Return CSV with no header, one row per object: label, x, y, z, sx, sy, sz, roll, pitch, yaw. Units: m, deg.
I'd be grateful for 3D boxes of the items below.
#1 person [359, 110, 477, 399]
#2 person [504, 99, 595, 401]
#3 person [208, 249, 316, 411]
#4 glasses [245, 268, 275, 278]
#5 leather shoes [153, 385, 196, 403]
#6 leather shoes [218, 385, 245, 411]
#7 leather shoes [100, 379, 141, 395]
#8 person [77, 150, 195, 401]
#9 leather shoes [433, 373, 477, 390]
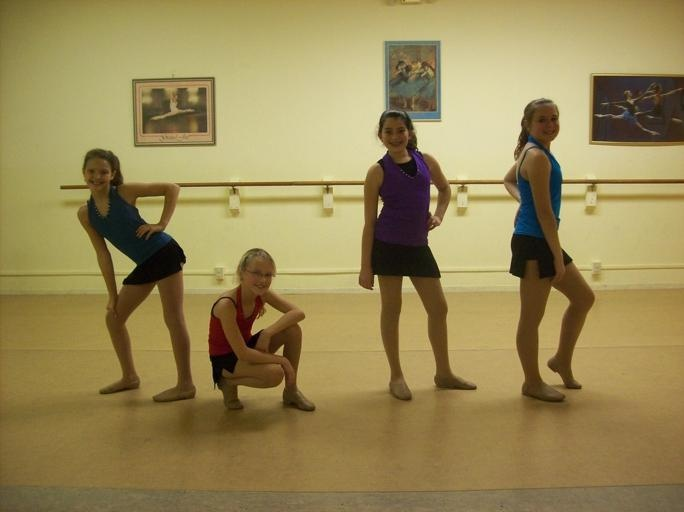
person,0.377,-0.008,3.224,0.534,1.581,0.324,-5,11,-22
person,1.179,-0.050,3.233,0.455,1.656,0.553,1,10,9
person,-0.439,0.394,3.070,0.543,0.870,0.309,-3,10,-13
glasses,-0.421,0.093,2.981,0.149,0.056,0.051,-5,11,-21
leather shoes,-0.942,0.783,3.215,0.244,0.108,0.084,4,19,-16
leather shoes,-0.603,0.766,3.095,0.197,0.150,0.072,-2,-3,40
leather shoes,-1.296,0.756,3.368,0.242,0.109,0.074,2,5,-20
person,-1.165,0.094,3.305,0.711,1.417,0.485,6,12,36
leather shoes,0.653,0.721,3.344,0.258,0.114,0.089,-3,3,11
